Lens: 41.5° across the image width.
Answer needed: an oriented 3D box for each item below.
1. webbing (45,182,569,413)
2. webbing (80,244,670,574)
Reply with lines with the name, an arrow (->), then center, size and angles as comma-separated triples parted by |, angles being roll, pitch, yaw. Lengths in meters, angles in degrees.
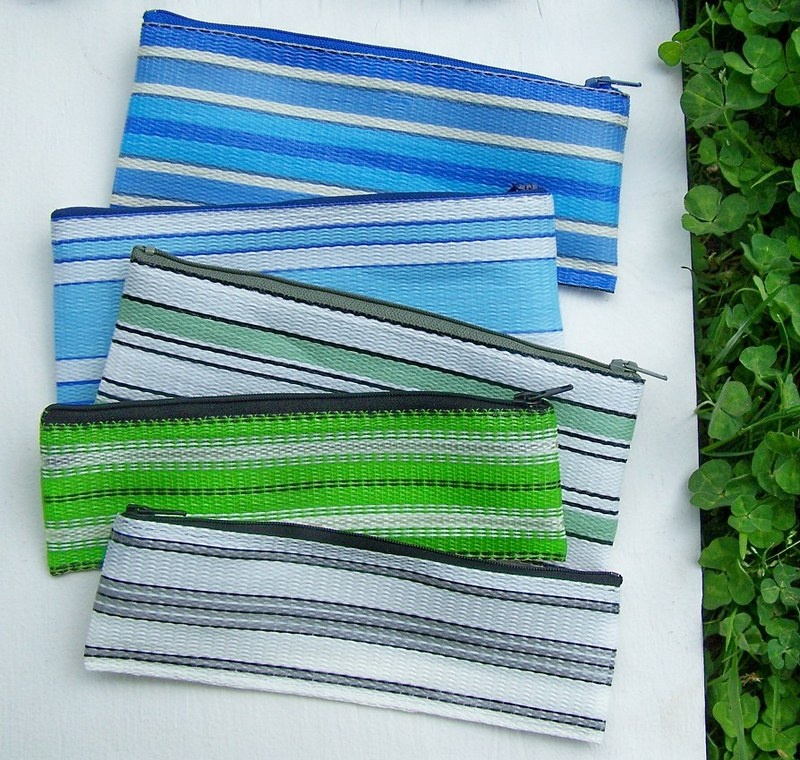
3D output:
webbing -> -0.036, -0.104, 1.225 | 0.053, 0.213, 0.657 | -2, 6, -39
webbing -> -0.068, -0.056, 1.155 | 0.652, 0.212, 0.067 | -11, 27, -42
